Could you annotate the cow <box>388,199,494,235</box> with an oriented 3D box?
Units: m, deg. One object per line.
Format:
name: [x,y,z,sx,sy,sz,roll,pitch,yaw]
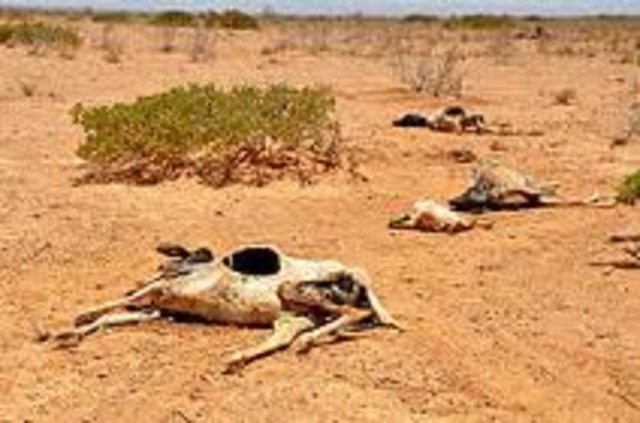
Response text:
cow: [2.014,0.125,13.110,0.823,0.370,1.363,11,-2,-42]

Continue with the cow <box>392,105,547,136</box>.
cow: [3.268,-2.140,17.896,3.155,0.579,0.714,6,16,10]
